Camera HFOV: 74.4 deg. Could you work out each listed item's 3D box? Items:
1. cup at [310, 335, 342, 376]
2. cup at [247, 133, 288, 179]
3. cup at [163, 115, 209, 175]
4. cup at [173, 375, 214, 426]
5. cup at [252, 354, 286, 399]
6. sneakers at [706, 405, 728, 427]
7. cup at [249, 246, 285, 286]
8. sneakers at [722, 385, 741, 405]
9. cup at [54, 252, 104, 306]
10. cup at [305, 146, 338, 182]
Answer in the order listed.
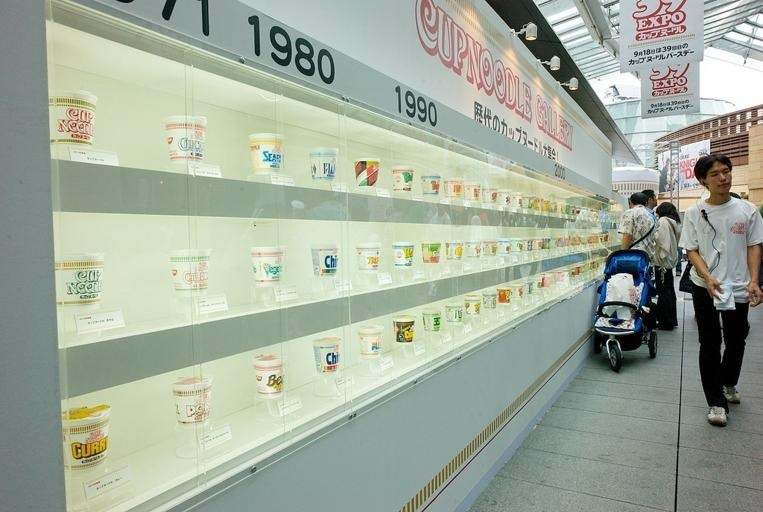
[{"bbox_3d":[-0.248,0.450,2.266,0.140,0.154,0.142,-1,2,0],"label":"cup"},{"bbox_3d":[-0.466,-0.420,2.105,0.153,0.138,0.150,-1,7,0],"label":"cup"},{"bbox_3d":[-0.667,-0.396,1.833,0.174,0.186,0.191,0,2,0],"label":"cup"},{"bbox_3d":[-0.695,0.526,1.836,0.135,0.163,0.169,0,-3,0],"label":"cup"},{"bbox_3d":[-0.460,0.494,2.053,0.155,0.143,0.131,-1,2,-2],"label":"cup"},{"bbox_3d":[2.645,1.269,3.953,0.123,0.144,0.114,-1,5,29],"label":"sneakers"},{"bbox_3d":[-0.470,0.040,2.040,0.136,0.142,0.130,0,-2,0],"label":"cup"},{"bbox_3d":[3.035,1.202,4.393,0.137,0.141,0.327,-8,-8,18],"label":"sneakers"},{"bbox_3d":[-0.960,0.080,1.595,0.120,0.104,0.133,1,-5,-20],"label":"cup"},{"bbox_3d":[-0.265,-0.398,2.234,0.133,0.102,0.129,0,9,0],"label":"cup"}]
